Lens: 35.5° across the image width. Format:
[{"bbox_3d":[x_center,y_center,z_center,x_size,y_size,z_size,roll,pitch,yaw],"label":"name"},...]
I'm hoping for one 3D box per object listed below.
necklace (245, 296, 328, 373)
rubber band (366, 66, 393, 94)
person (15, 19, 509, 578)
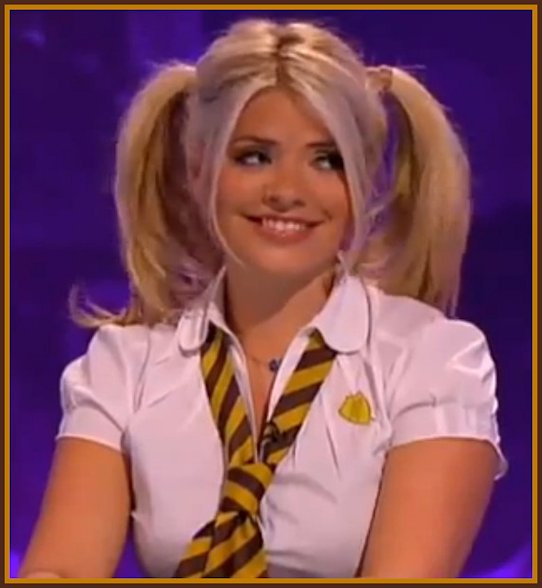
[{"bbox_3d":[0.054,0.129,2.646,0.253,0.058,0.049,-50,25,-5],"label":"necklace"},{"bbox_3d":[0.336,-0.666,2.619,0.066,0.092,0.078,-1,34,1],"label":"rubber band"},{"bbox_3d":[0.019,0.066,2.517,1.351,1.587,0.902,7,23,4],"label":"person"}]
